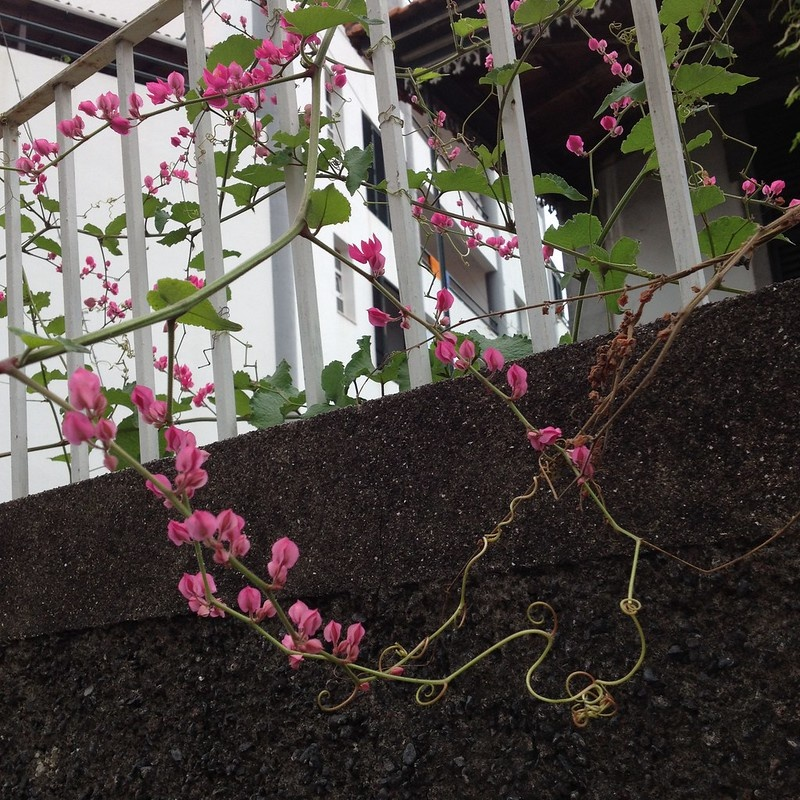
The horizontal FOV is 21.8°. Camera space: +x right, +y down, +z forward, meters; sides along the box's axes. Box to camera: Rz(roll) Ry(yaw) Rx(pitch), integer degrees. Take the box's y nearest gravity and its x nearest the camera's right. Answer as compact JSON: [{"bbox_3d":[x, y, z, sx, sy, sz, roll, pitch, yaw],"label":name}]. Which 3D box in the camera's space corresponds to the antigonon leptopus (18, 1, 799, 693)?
[{"bbox_3d":[-0.179,-0.184,5.395,2.252,1.751,1.760,5,19,41],"label":"antigonon leptopus"}]
